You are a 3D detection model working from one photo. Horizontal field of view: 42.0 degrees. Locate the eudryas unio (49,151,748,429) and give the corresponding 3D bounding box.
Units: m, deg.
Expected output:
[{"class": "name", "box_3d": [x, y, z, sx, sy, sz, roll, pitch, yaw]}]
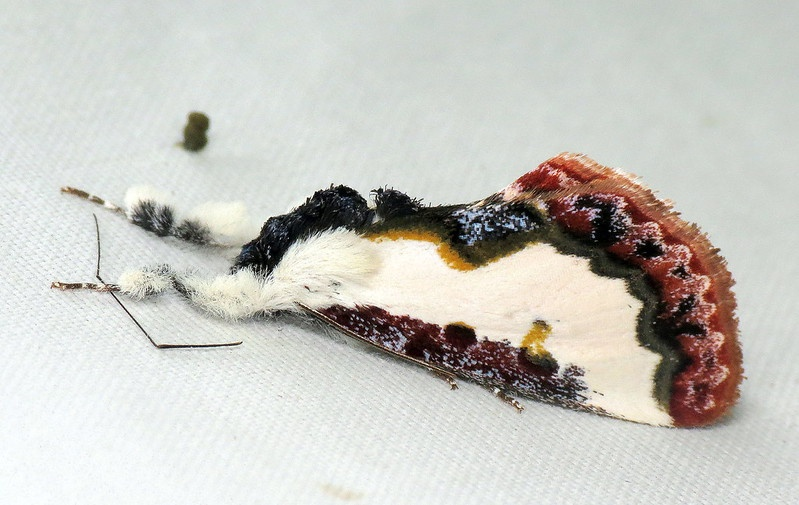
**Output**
[{"class": "eudryas unio", "box_3d": [0.000, 0.009, 2.071, 1.428, 0.376, 0.134, 11, -12, 8]}]
